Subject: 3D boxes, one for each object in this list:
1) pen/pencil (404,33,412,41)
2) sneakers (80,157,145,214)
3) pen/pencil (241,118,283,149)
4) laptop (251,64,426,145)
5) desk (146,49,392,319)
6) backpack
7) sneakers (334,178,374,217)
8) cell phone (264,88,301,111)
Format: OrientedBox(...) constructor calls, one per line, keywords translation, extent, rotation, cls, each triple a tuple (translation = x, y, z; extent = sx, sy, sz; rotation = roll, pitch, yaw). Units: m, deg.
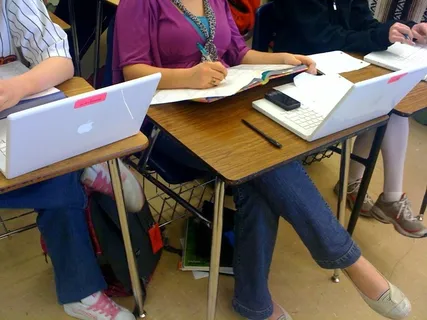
OrientedBox(translation=(0.979, -0.625, 1.678), extent=(0.058, 0.014, 0.019), rotation=(36, 18, -36), cls="pen/pencil")
OrientedBox(translation=(-0.421, 0.110, 1.375), extent=(0.281, 0.132, 0.110), rotation=(40, 21, 7), cls="sneakers")
OrientedBox(translation=(0.164, -0.086, 1.122), extent=(0.179, 0.019, 0.019), rotation=(39, 18, 29), cls="pen/pencil")
OrientedBox(translation=(0.398, -0.221, 1.195), extent=(0.392, 0.182, 0.347), rotation=(-23, 42, -30), cls="laptop")
OrientedBox(translation=(0.191, 0.163, 1.611), extent=(1.082, 0.780, 0.701), rotation=(-28, 50, -30), cls="desk")
OrientedBox(translation=(-0.435, 0.355, 1.605), extent=(0.468, 0.507, 0.422), rotation=(-18, 26, -16), cls="backpack")
OrientedBox(translation=(0.874, 0.207, 2.028), extent=(0.124, 0.138, 0.309), rotation=(-3, 34, -17), cls="sneakers")
OrientedBox(translation=(0.253, -0.223, 1.234), extent=(0.065, 0.023, 0.118), rotation=(-26, 49, -34), cls="cell phone")
